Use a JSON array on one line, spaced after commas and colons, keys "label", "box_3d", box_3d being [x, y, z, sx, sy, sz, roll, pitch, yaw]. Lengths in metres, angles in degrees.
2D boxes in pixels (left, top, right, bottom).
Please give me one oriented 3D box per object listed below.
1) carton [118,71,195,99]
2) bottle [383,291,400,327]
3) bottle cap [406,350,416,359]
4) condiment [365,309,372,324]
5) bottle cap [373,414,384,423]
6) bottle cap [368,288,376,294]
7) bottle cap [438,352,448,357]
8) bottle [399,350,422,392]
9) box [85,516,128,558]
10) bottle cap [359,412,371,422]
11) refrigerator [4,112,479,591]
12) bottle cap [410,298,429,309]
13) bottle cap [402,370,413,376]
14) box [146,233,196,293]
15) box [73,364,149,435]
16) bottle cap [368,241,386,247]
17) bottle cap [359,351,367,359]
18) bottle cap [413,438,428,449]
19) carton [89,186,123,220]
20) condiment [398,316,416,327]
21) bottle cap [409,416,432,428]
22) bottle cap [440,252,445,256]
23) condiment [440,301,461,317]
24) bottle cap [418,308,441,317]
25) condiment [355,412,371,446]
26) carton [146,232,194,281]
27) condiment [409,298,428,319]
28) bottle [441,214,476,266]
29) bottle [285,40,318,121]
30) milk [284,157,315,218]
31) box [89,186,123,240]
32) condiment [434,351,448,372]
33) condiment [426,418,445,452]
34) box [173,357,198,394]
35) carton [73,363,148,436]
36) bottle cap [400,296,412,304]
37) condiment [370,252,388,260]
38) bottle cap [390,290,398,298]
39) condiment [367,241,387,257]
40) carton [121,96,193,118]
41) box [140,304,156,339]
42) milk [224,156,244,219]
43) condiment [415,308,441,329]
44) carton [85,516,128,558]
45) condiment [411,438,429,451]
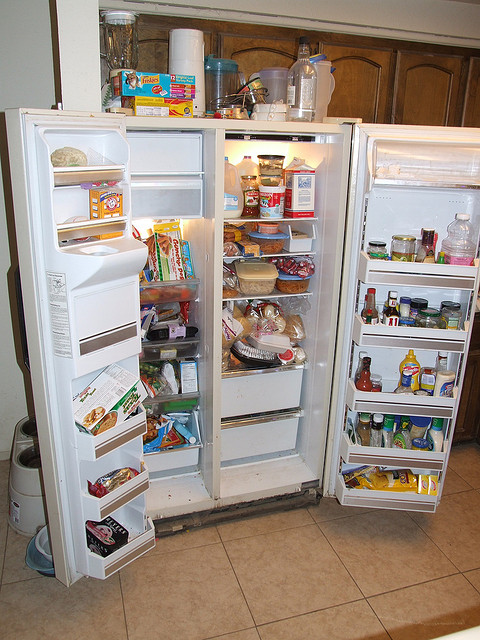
[{"label": "carton", "box_3d": [-0.259, -0.728, 1.568, 0.256, 0.103, 0.158, -9, 26, -23]}, {"label": "bottle", "box_3d": [0.564, -0.042, 1.857, 0.060, 0.125, 0.100, 6, 15, 17]}, {"label": "bottle cap", "box_3d": [0.695, 0.133, 2.031, 0.035, 0.034, 0.034, 13, 21, 27]}, {"label": "condiment", "box_3d": [0.481, -0.014, 1.861, 0.021, 0.044, 0.038, 5, 15, 13]}, {"label": "bottle cap", "box_3d": [0.551, 0.388, 1.994, 0.031, 0.020, 0.031, -7, 22, -18]}, {"label": "bottle cap", "box_3d": [0.494, -0.109, 1.881, 0.023, 0.019, 0.041, 6, 15, 17]}, {"label": "bottle cap", "box_3d": [0.798, 0.134, 1.967, 0.020, 0.011, 0.021, 13, 19, 36]}, {"label": "bottle", "box_3d": [0.685, 0.213, 2.023, 0.089, 0.055, 0.206, -2, 55, 23]}, {"label": "box", "box_3d": [-0.424, 0.667, 1.570, 0.117, 0.035, 0.091, 27, 33, 26]}, {"label": "bottle cap", "box_3d": [0.505, 0.390, 2.021, 0.036, 0.032, 0.036, 1, 18, -2]}, {"label": "refrigerator", "box_3d": [0.034, 0.121, 1.803, 1.501, 1.501, 0.835, -6, 27, -14]}, {"label": "bottle cap", "box_3d": [0.688, -0.071, 1.911, 0.045, 0.032, 0.044, -10, 22, -23]}, {"label": "bottle cap", "box_3d": [0.665, 0.209, 1.993, 0.022, 0.022, 0.021, -2, -18, -2]}, {"label": "box", "box_3d": [-0.268, -0.232, 1.959, 0.182, 0.242, 0.128, -6, 25, -18]}, {"label": "box", "box_3d": [-0.384, 0.229, 1.470, 0.110, 0.140, 0.256, 5, 15, 15]}, {"label": "bottle cap", "box_3d": [0.509, -0.280, 1.850, 0.042, 0.011, 0.042, 3, 14, 9]}, {"label": "bottle cap", "box_3d": [0.480, 0.135, 1.945, 0.022, 0.017, 0.022, -2, 10, -4]}, {"label": "bottle cap", "box_3d": [0.721, 0.489, 2.001, 0.037, 0.035, 0.036, -27, 37, -37]}, {"label": "carton", "box_3d": [-0.362, -0.313, 1.348, 0.033, 0.057, 0.102, 7, 1, 15]}, {"label": "condiment", "box_3d": [0.620, 0.006, 1.869, 0.044, 0.042, 0.043, -8, 6, 19]}, {"label": "bottle cap", "box_3d": [0.730, 0.406, 2.022, 0.055, 0.051, 0.054, 2, 43, 2]}, {"label": "bottle cap", "box_3d": [0.731, -0.238, 1.811, 0.015, 0.013, 0.014, -10, 22, -9]}, {"label": "condiment", "box_3d": [0.791, -0.040, 1.887, 0.047, 0.043, 0.048, 10, 19, 33]}, {"label": "bottle cap", "box_3d": [0.714, -0.028, 1.896, 0.053, 0.025, 0.069, -13, 20, -43]}, {"label": "condiment", "box_3d": [0.502, 0.442, 2.031, 0.055, 0.181, 0.054, -2, 39, -4]}, {"label": "carton", "box_3d": [-0.276, -0.239, 1.955, 0.137, 0.072, 0.209, 21, 44, -32]}, {"label": "condiment", "box_3d": [0.677, -0.052, 1.957, 0.074, 0.081, 0.072, -20, 30, -41]}, {"label": "bottle", "box_3d": [0.802, -0.282, 1.823, 0.109, 0.153, 0.152, 4, 15, 11]}, {"label": "bottle", "box_3d": [0.231, -0.857, 1.822, 0.121, 0.265, 0.098, -1, 14, -8]}, {"label": "milk", "box_3d": [0.225, -0.524, 2.005, 0.109, 0.221, 0.081, -11, 29, -27]}, {"label": "box", "box_3d": [-0.364, -0.292, 1.355, 0.053, 0.152, 0.089, 36, 47, 29]}, {"label": "condiment", "box_3d": [0.808, 0.167, 2.010, 0.042, 0.109, 0.041, 16, 36, 28]}, {"label": "condiment", "box_3d": [0.780, 0.457, 1.997, 0.049, 0.171, 0.069, -2, 28, -5]}, {"label": "box", "box_3d": [-0.210, 0.234, 2.187, 0.126, 0.227, 0.125, -1, 4, 0]}, {"label": "carton", "box_3d": [-0.374, 0.229, 1.442, 0.142, 0.175, 0.164, 24, 29, 39]}, {"label": "bottle cap", "box_3d": [0.626, -0.077, 1.883, 0.028, 0.016, 0.029, 11, 20, 25]}, {"label": "condiment", "box_3d": [0.510, -0.233, 1.812, 0.048, 0.017, 0.037, 7, 14, 12]}, {"label": "bottle cap", "box_3d": [0.575, -0.095, 1.871, 0.027, 0.019, 0.026, 0, 11, -1]}, {"label": "condiment", "box_3d": [0.510, -0.270, 1.868, 0.063, 0.051, 0.062, 0, 19, 2]}, {"label": "carton", "box_3d": [-0.250, -0.629, 1.589, 0.176, 0.110, 0.134, -2, 17, -11]}, {"label": "box", "box_3d": [-0.355, 0.000, 2.002, 0.038, 0.044, 0.164, 29, 56, -21]}, {"label": "milk", "box_3d": [-0.024, -0.492, 1.914, 0.068, 0.209, 0.114, 1, 14, -1]}, {"label": "condiment", "box_3d": [0.708, -0.003, 1.890, 0.079, 0.072, 0.079, 0, 23, 1]}, {"label": "carton", "box_3d": [-0.437, 0.677, 1.595, 0.157, 0.054, 0.128, 23, 7, 17]}, {"label": "condiment", "box_3d": [0.718, 0.493, 2.002, 0.046, 0.047, 0.046, 18, 47, 21]}]
